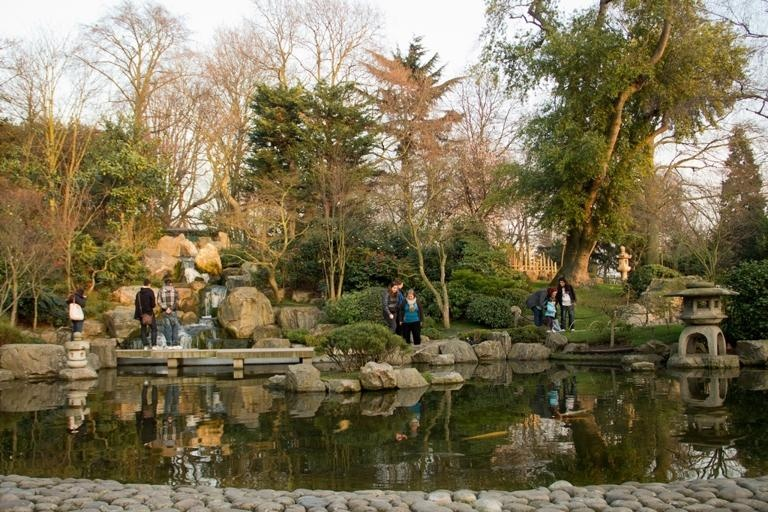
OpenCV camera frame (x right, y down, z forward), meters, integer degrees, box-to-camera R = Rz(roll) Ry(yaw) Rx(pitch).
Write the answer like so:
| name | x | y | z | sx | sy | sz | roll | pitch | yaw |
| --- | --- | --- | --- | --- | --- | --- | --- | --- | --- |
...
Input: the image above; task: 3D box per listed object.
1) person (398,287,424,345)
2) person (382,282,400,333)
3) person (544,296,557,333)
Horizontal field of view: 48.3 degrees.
| name | x | y | z | sx | sy | sz | roll | pitch | yaw |
| --- | --- | --- | --- | --- | --- | --- | --- | --- | --- |
| person | 1.019 | 2.325 | 32.021 | 0.813 | 1.912 | 1.287 | -1 | -10 | 2 |
| person | 0.283 | 1.983 | 32.539 | 0.627 | 1.785 | 1.279 | 0 | -10 | -1 |
| person | 6.680 | 2.374 | 34.497 | 0.449 | 1.357 | 0.880 | -2 | -10 | 10 |
